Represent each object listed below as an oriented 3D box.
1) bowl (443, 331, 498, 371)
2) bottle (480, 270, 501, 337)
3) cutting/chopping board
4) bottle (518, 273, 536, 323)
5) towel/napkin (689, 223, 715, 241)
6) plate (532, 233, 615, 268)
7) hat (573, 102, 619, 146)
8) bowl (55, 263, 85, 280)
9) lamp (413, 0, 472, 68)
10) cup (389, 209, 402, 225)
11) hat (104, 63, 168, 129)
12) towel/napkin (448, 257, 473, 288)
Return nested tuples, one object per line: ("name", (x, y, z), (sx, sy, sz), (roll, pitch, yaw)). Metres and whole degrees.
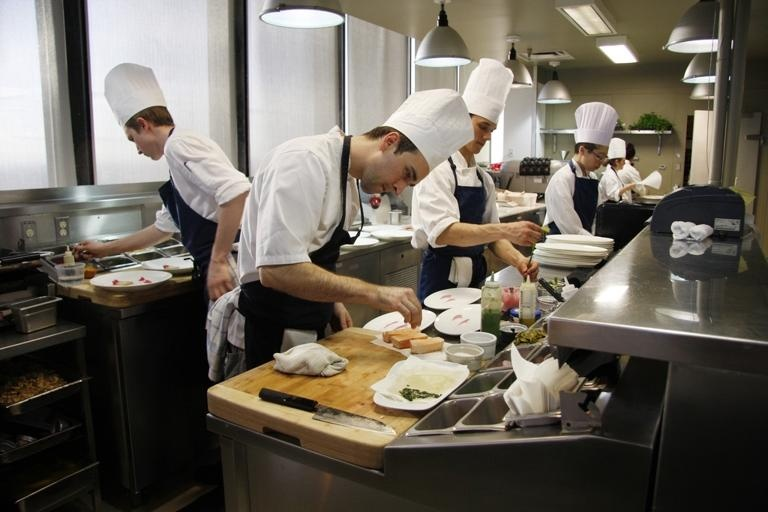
("bowl", (0.345, 0.355, 2.091), (0.109, 0.064, 0.174), (9, 8, 34))
("bottle", (0.436, 0.196, 2.235), (0.077, 0.239, 0.125), (0, 13, 10))
("cutting/chopping board", (-0.229, 0.483, 1.860), (0.460, 0.070, 0.491), (8, 15, 29))
("bottle", (0.621, 0.183, 2.376), (0.074, 0.175, 0.206), (1, 14, 14))
("towel/napkin", (1.452, -0.111, 2.519), (0.075, 0.068, 0.099), (0, 13, 42))
("plate", (1.152, -0.032, 3.331), (0.330, 0.111, 0.337), (-1, 9, 5))
("hat", (1.737, -1.035, 4.493), (0.365, 0.279, 0.337), (2, 5, -39))
("bowl", (-1.721, 0.076, 3.033), (0.102, 0.060, 0.104), (-1, 2, 0))
("lamp", (0.502, -1.858, 4.505), (0.432, 0.529, 0.645), (4, 14, 24))
("cup", (0.108, -0.390, 5.336), (0.126, 0.124, 0.128), (0, 3, 0))
("hat", (-1.392, -0.904, 3.150), (0.323, 0.291, 0.356), (-30, 10, -31))
("towel/napkin", (0.437, 0.087, 3.182), (0.176, 0.173, 0.068), (1, 0, -38))
